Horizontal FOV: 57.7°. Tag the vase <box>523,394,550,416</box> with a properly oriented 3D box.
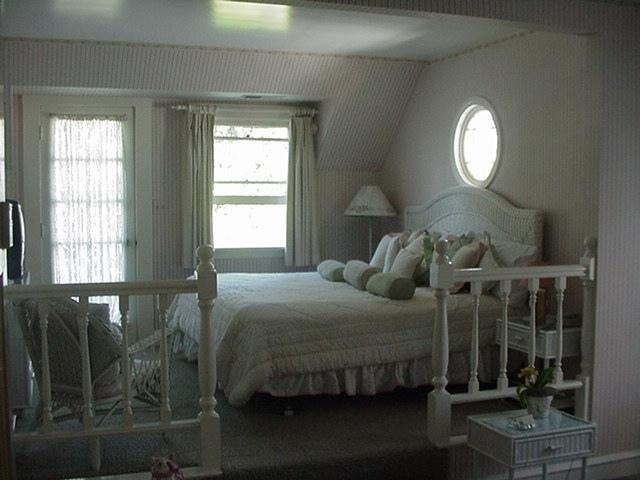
[{"bbox_3d":[1.377,1.035,3.683,0.123,0.105,0.129,0,1,2],"label":"vase"}]

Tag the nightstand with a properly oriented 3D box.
[{"bbox_3d":[1.627,0.804,4.242,0.377,0.234,0.535,1,1,-19],"label":"nightstand"}]

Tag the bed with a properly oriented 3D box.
[{"bbox_3d":[0.366,0.590,4.868,2.250,1.315,1.902,-4,8,-19],"label":"bed"}]

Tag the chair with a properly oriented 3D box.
[{"bbox_3d":[-1.383,0.692,3.552,0.855,0.927,0.711,-3,4,-17],"label":"chair"}]
